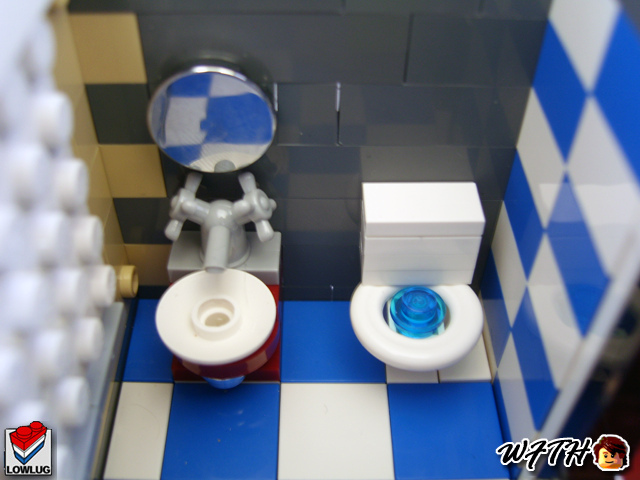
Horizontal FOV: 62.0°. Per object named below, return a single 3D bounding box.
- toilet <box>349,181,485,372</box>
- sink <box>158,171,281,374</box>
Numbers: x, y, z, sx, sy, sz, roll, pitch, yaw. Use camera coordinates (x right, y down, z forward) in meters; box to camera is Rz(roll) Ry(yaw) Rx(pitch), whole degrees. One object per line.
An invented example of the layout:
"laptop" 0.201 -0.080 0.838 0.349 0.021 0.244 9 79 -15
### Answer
"toilet" 0.369 0.107 2.163 0.506 0.650 0.738 0 60 3
"sink" -0.368 0.172 2.052 0.417 0.730 0.649 -3 53 -6
